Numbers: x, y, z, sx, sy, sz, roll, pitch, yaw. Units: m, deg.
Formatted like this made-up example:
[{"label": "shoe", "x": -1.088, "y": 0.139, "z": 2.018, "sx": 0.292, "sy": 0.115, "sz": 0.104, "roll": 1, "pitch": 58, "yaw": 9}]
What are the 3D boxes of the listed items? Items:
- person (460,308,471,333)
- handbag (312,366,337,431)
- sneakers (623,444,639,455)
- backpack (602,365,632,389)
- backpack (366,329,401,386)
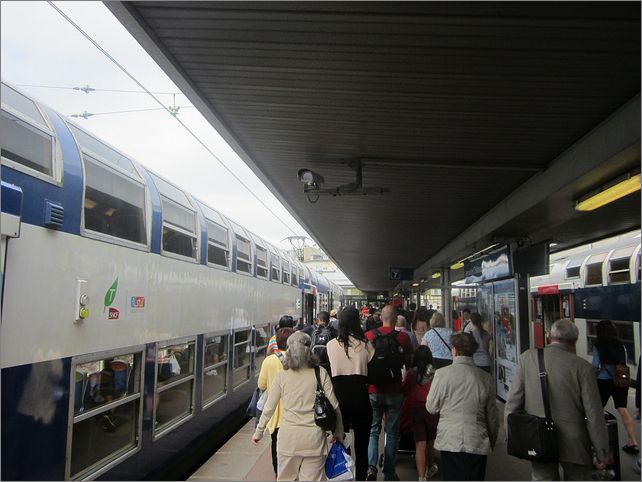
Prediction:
[{"label": "person", "x": 3.560, "y": 1.912, "z": 11.110, "sx": 0.173, "sy": 0.616, "sz": 2.096, "roll": -4, "pitch": -13, "yaw": 17}, {"label": "handbag", "x": 0.032, "y": 1.677, "z": 4.761, "sx": 0.220, "sy": 0.714, "sz": 0.505, "roll": -10, "pitch": -21, "yaw": 2}, {"label": "sneakers", "x": 4.712, "y": 3.171, "z": 6.917, "sx": 0.081, "sy": 0.101, "sz": 0.236, "roll": 1, "pitch": -6, "yaw": -15}, {"label": "backpack", "x": 4.503, "y": 2.067, "z": 6.835, "sx": 0.210, "sy": 0.341, "sz": 0.355, "roll": 6, "pitch": -23, "yaw": -2}, {"label": "backpack", "x": 0.753, "y": 1.559, "z": 5.894, "sx": 0.414, "sy": 0.643, "sz": 0.579, "roll": -1, "pitch": -17, "yaw": 10}]
